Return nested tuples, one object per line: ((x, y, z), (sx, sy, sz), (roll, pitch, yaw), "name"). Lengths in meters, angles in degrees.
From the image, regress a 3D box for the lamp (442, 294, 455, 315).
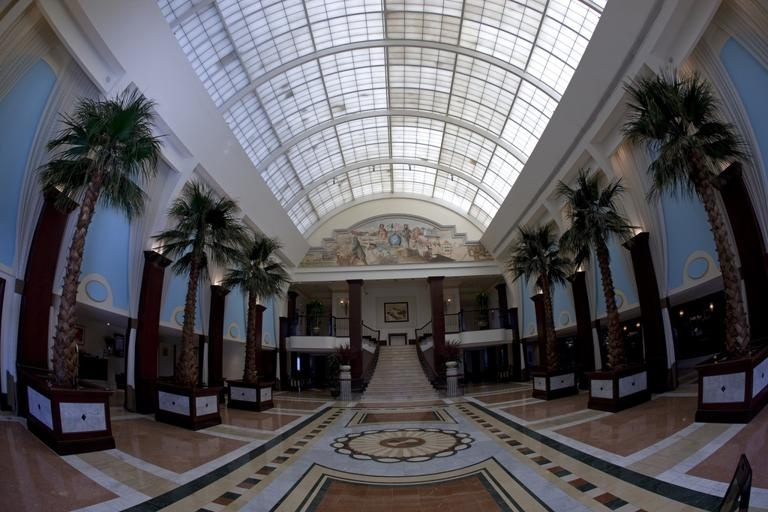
((5.546, 4.080, 35.906), (0.860, 1.591, 0.548), (-9, -14, 19), "lamp")

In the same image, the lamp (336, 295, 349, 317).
((-3.652, 4.224, 36.204), (0.972, 1.914, 0.439), (-5, -13, 5), "lamp")

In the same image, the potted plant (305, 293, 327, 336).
((-5.495, 4.795, 33.945), (1.587, 3.050, 1.786), (-25, -32, 35), "potted plant")
